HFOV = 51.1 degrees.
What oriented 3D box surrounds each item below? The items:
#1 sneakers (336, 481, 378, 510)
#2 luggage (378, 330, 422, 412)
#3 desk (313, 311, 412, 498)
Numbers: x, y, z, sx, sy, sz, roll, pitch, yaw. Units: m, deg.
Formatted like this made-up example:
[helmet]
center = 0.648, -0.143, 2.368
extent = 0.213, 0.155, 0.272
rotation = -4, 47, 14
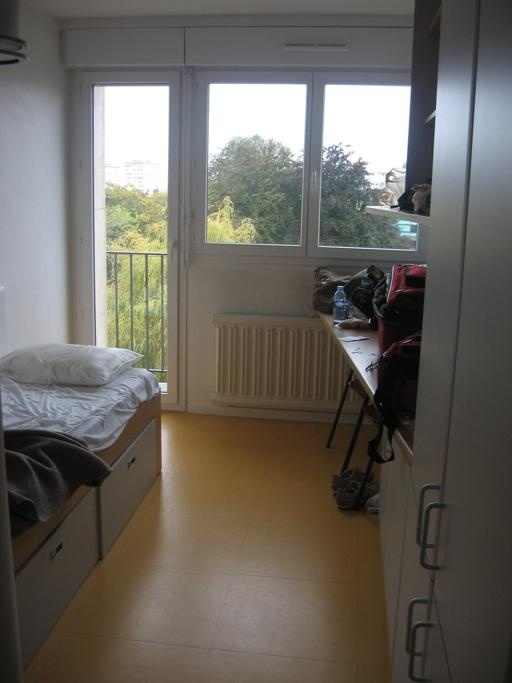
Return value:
[sneakers]
center = 0.508, 0.748, 2.675
extent = 0.226, 0.108, 0.092
rotation = -21, 21, -40
[luggage]
center = 0.392, 0.082, 1.462
extent = 0.125, 0.193, 0.171
rotation = 0, 1, 10
[desk]
center = 0.468, 0.284, 2.470
extent = 0.206, 0.436, 0.856
rotation = 7, 13, 5
